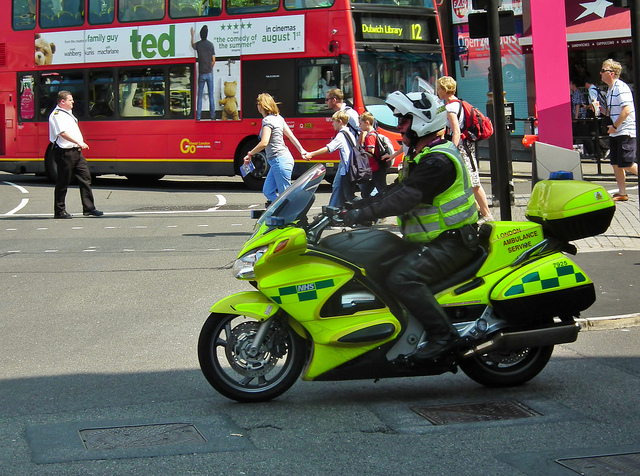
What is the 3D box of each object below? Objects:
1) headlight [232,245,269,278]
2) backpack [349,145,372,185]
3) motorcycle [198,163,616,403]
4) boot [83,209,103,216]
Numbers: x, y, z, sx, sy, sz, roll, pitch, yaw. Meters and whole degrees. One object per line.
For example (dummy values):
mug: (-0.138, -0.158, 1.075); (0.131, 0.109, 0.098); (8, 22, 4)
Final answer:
headlight: (-0.466, 0.143, 4.489); (0.262, 0.085, 0.177); (-29, 0, -7)
backpack: (0.631, -1.173, 10.365); (0.305, 0.494, 0.392); (-2, 3, 39)
motorcycle: (0.580, 0.326, 4.649); (2.819, 1.643, 0.439); (-2, 9, -9)
boot: (-4.685, -0.530, 13.884); (0.407, 0.166, 0.126); (-1, 12, -1)
